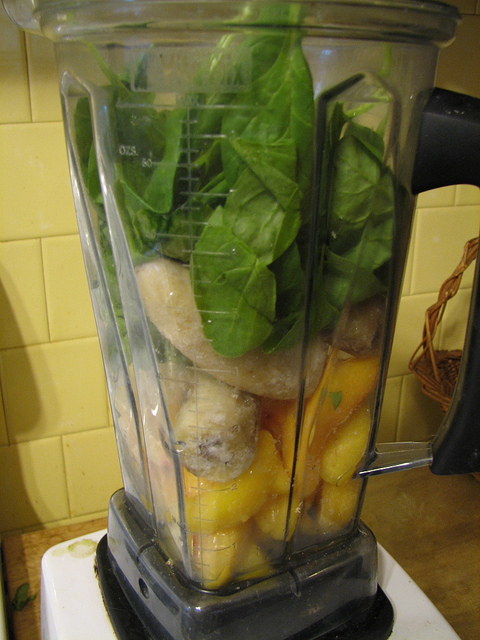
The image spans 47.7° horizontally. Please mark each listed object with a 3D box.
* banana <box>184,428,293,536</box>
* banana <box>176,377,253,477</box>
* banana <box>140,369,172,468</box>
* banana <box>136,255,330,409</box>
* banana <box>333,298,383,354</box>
[{"bbox_3d":[-0.004,0.094,0.295,0.046,0.069,0.023,4,8,8],"label":"banana"},{"bbox_3d":[-0.013,0.052,0.271,0.034,0.051,0.027,1,12,12],"label":"banana"},{"bbox_3d":[-0.053,0.060,0.321,0.012,0.050,0.034,-3,-13,31],"label":"banana"},{"bbox_3d":[-0.004,0.008,0.276,0.099,0.084,0.045,6,27,8],"label":"banana"},{"bbox_3d":[0.065,0.004,0.301,0.024,0.032,0.008,25,18,-42],"label":"banana"}]
